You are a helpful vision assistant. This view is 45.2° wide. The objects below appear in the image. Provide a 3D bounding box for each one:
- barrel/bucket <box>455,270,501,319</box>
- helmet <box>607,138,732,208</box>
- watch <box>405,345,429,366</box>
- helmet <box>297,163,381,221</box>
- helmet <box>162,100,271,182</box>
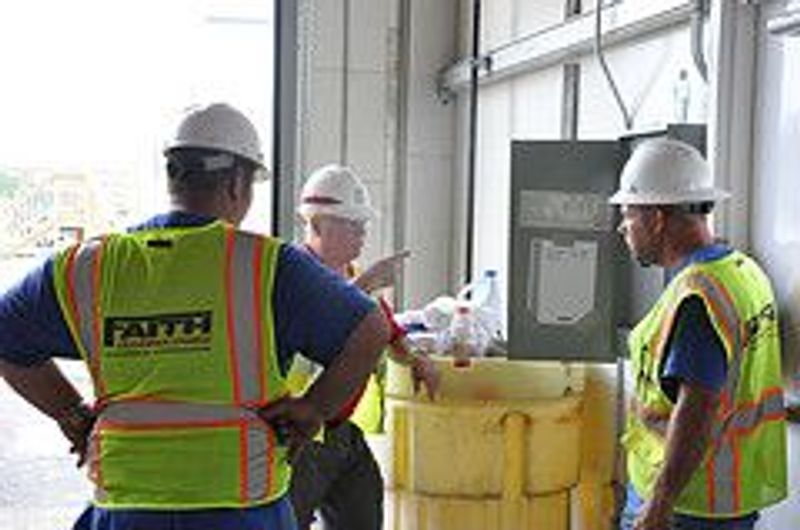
[{"bbox_3d":[0.396,0.147,5.394,0.291,0.314,0.180,-2,3,-6],"label":"barrel/bucket"},{"bbox_3d":[1.100,-0.346,3.984,0.348,0.195,0.307,-2,2,24],"label":"helmet"},{"bbox_3d":[0.078,0.419,4.387,0.090,0.080,0.097,0,6,-4],"label":"watch"},{"bbox_3d":[-0.308,-0.342,4.566,0.300,0.185,0.258,1,4,14],"label":"helmet"},{"bbox_3d":[-0.686,-0.457,3.593,0.251,0.180,0.310,1,-1,26],"label":"helmet"}]
